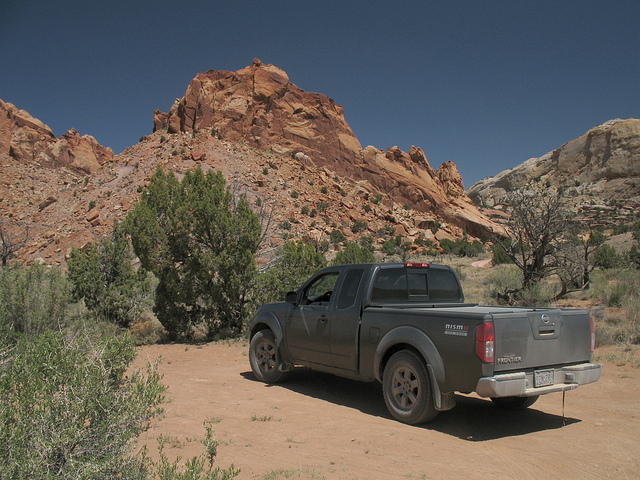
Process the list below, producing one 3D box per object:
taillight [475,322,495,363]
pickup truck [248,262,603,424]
[{"bbox_3d":[2.196,1.284,6.350,0.263,0.584,0.333,1,12,9],"label":"taillight"},{"bbox_3d":[1.492,1.576,7.814,5.324,2.443,1.844,2,3,40],"label":"pickup truck"}]
